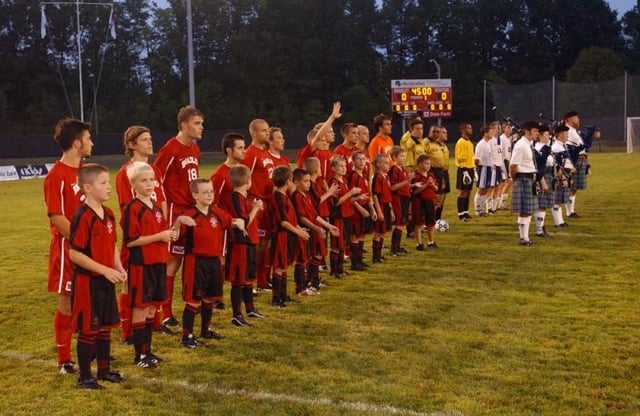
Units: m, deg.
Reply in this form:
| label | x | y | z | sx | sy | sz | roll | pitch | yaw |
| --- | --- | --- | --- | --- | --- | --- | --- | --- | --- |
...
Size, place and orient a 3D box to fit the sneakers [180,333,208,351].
| label | x | y | z | sx | sy | sz | roll | pitch | yaw |
| --- | --- | --- | --- | --- | --- | --- | --- | --- | --- |
| sneakers | -1.708 | 1.775 | 8.433 | 0.302 | 0.184 | 0.127 | -1 | 5 | -12 |

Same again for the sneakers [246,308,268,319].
| label | x | y | z | sx | sy | sz | roll | pitch | yaw |
| --- | --- | --- | --- | --- | --- | --- | --- | --- | --- |
| sneakers | -0.946 | 1.555 | 9.276 | 0.354 | 0.134 | 0.114 | 0 | -1 | 2 |

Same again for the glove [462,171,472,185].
| label | x | y | z | sx | sy | sz | roll | pitch | yaw |
| --- | --- | --- | --- | --- | --- | --- | --- | --- | --- |
| glove | 3.460 | -0.692 | 14.875 | 0.248 | 0.309 | 0.116 | 0 | 7 | 3 |

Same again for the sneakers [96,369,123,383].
| label | x | y | z | sx | sy | sz | roll | pitch | yaw |
| --- | --- | --- | --- | --- | --- | --- | --- | --- | --- |
| sneakers | -2.566 | 2.056 | 7.689 | 0.303 | 0.111 | 0.147 | 0 | 3 | -17 |

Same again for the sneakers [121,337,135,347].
| label | x | y | z | sx | sy | sz | roll | pitch | yaw |
| --- | --- | --- | --- | --- | --- | --- | --- | --- | --- |
| sneakers | -2.619 | 1.825 | 8.564 | 0.136 | 0.115 | 0.126 | 0 | -5 | -4 |

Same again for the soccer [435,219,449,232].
| label | x | y | z | sx | sy | sz | roll | pitch | yaw |
| --- | --- | --- | --- | --- | --- | --- | --- | --- | --- |
| soccer | 2.688 | 0.388 | 14.027 | 0.338 | 0.300 | 0.303 | -1 | -8 | -7 |

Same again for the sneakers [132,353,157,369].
| label | x | y | z | sx | sy | sz | roll | pitch | yaw |
| --- | --- | --- | --- | --- | --- | --- | --- | --- | --- |
| sneakers | -2.275 | 1.951 | 7.987 | 0.385 | 0.211 | 0.126 | -1 | 6 | 2 |

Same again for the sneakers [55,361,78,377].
| label | x | y | z | sx | sy | sz | roll | pitch | yaw |
| --- | --- | --- | --- | --- | --- | --- | --- | --- | --- |
| sneakers | -3.149 | 2.011 | 7.875 | 0.254 | 0.093 | 0.142 | -1 | 2 | 44 |

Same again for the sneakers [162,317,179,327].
| label | x | y | z | sx | sy | sz | roll | pitch | yaw |
| --- | --- | --- | --- | --- | --- | --- | --- | --- | --- |
| sneakers | -2.145 | 1.644 | 9.073 | 0.200 | 0.079 | 0.109 | 3 | 10 | 33 |

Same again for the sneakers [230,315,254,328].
| label | x | y | z | sx | sy | sz | roll | pitch | yaw |
| --- | --- | --- | --- | --- | --- | --- | --- | --- | --- |
| sneakers | -1.145 | 1.615 | 9.049 | 0.377 | 0.151 | 0.120 | -1 | -1 | 17 |

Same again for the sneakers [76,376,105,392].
| label | x | y | z | sx | sy | sz | roll | pitch | yaw |
| --- | --- | --- | --- | --- | --- | --- | --- | --- | --- |
| sneakers | -2.769 | 2.117 | 7.571 | 0.371 | 0.140 | 0.126 | 2 | 0 | 4 |

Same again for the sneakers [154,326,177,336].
| label | x | y | z | sx | sy | sz | roll | pitch | yaw |
| --- | --- | --- | --- | --- | --- | --- | --- | --- | --- |
| sneakers | -2.174 | 1.718 | 8.893 | 0.336 | 0.110 | 0.115 | 5 | 2 | 9 |
